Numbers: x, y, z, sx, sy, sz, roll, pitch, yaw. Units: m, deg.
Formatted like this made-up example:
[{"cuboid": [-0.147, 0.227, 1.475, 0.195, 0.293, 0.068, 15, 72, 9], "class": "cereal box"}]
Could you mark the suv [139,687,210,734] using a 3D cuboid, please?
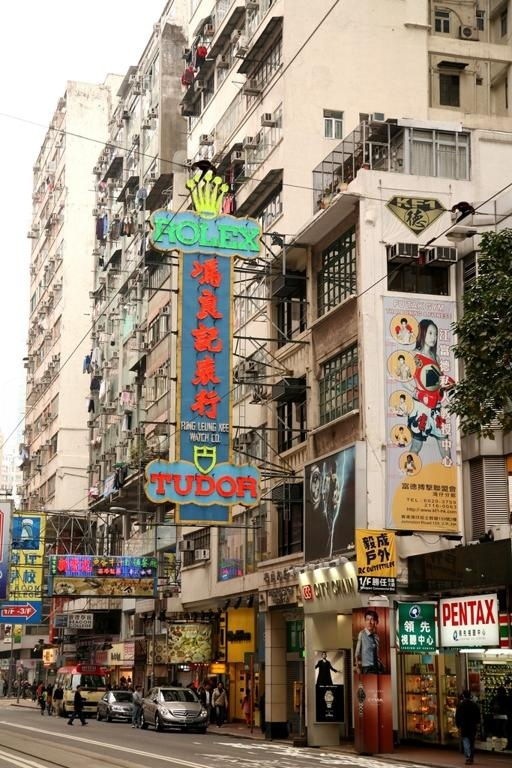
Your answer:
[{"cuboid": [-2.490, 9.980, 37.233, 1.354, 1.421, 3.180, 3, -16, -20], "class": "suv"}]

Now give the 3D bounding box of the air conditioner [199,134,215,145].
[{"cuboid": [-2.046, -10.290, 50.597, 0.510, 0.611, 0.413, 0, -4, 0], "class": "air conditioner"}]

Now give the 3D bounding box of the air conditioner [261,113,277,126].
[{"cuboid": [0.457, -9.154, 41.848, 0.387, 0.464, 0.273, -2, -21, 7], "class": "air conditioner"}]
